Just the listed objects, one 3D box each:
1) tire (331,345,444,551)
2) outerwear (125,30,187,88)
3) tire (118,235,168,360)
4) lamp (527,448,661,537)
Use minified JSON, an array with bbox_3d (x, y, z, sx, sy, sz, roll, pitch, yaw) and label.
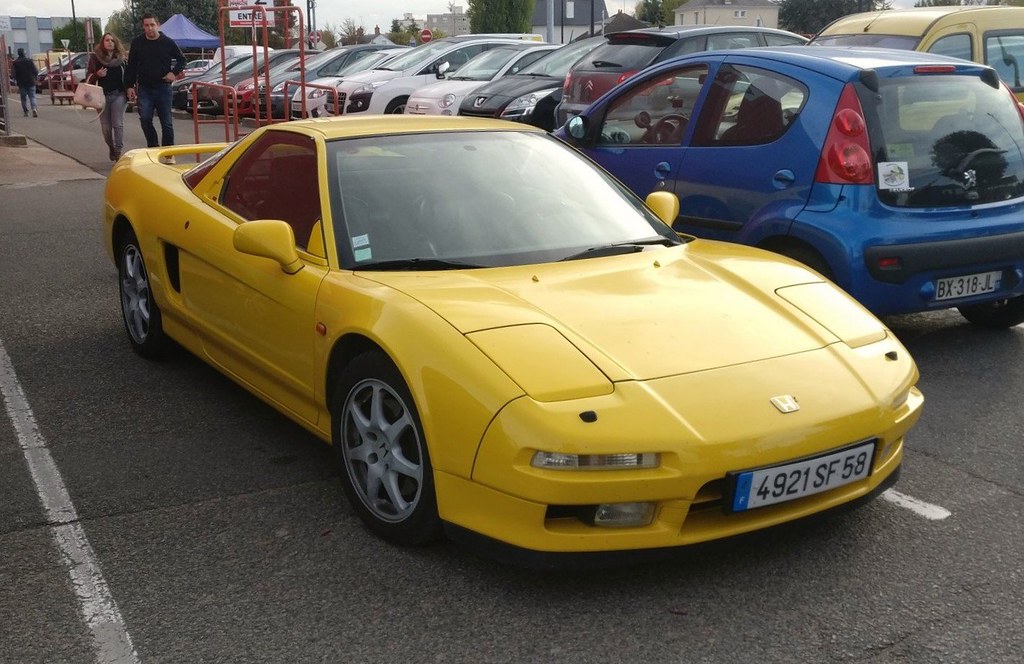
[{"bbox_3d":[-0.530,0.521,3.233,0.175,0.813,0.779,-5,19,-43],"label":"tire"},{"bbox_3d":[-6.813,-5.210,13.933,1.058,0.924,0.519,-9,24,-23],"label":"outerwear"},{"bbox_3d":[-2.608,-0.247,5.193,0.250,0.776,0.817,-6,17,-41],"label":"tire"},{"bbox_3d":[0.352,0.602,2.823,0.387,0.177,0.344,3,5,39],"label":"lamp"}]
